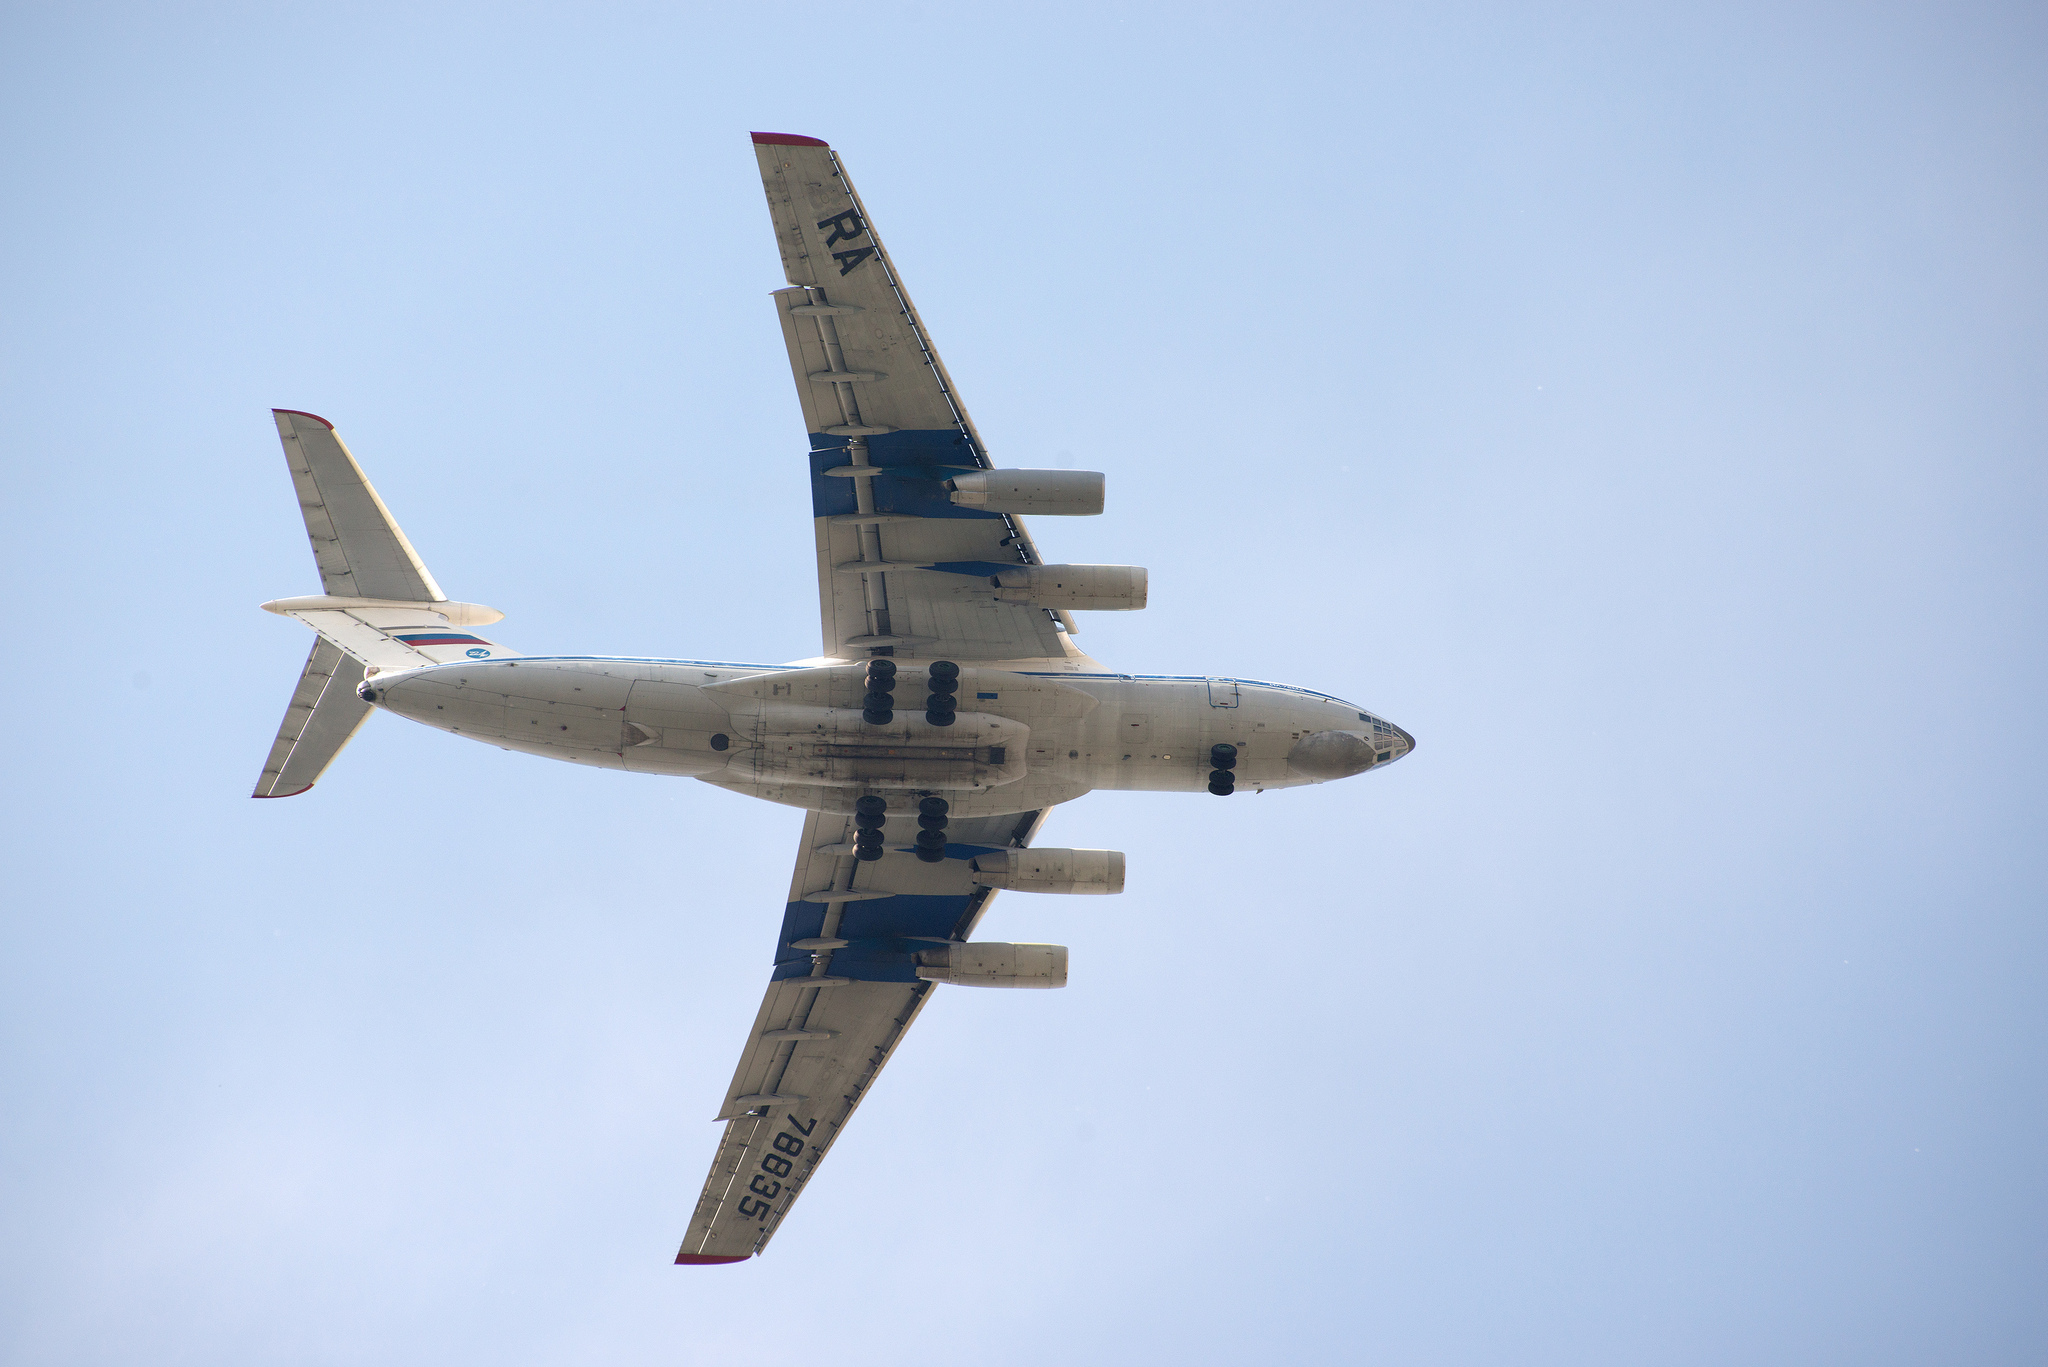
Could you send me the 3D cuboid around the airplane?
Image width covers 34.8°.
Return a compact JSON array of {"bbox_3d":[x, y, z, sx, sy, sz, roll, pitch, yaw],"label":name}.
[{"bbox_3d":[-2.053,0.195,43.318,16.574,4.585,14.293,1,-85,-8],"label":"airplane"}]
